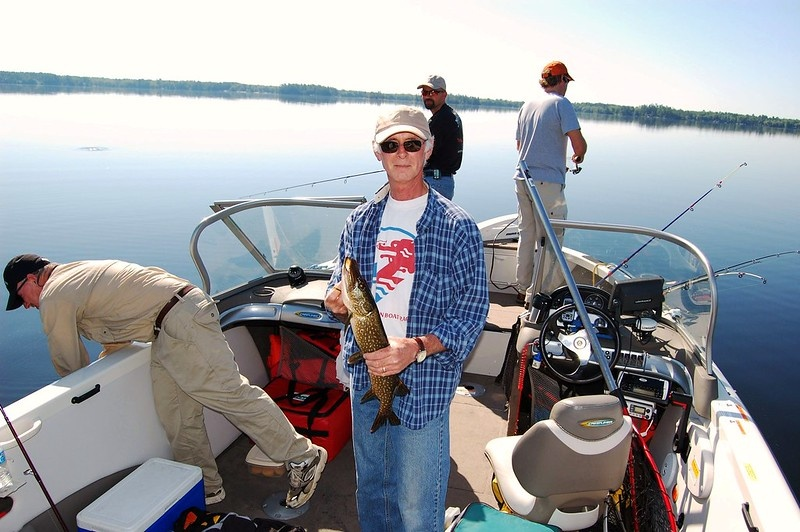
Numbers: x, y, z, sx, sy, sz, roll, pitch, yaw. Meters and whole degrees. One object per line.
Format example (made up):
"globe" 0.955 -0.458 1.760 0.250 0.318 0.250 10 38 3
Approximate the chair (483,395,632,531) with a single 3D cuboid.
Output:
"chair" 0.955 1.214 3.844 0.774 1.032 1.004 2 14 -9

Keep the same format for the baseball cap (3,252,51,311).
"baseball cap" -2.787 0.126 3.908 0.332 0.458 0.201 -10 27 -27

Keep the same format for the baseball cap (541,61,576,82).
"baseball cap" 1.850 -2.218 6.025 0.298 0.178 0.207 -9 18 -32

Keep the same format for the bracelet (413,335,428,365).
"bracelet" 0.114 0.510 3.155 0.063 0.146 0.086 -19 32 -40

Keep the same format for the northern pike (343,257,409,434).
"northern pike" -0.183 0.424 3.248 0.354 1.120 0.281 -16 13 -24

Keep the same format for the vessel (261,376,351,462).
"vessel" -0.836 1.342 4.821 0.775 0.646 0.535 -2 -7 37

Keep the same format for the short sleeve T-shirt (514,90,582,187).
"short sleeve T-shirt" 1.710 -1.470 6.095 0.693 0.958 0.343 16 27 27
